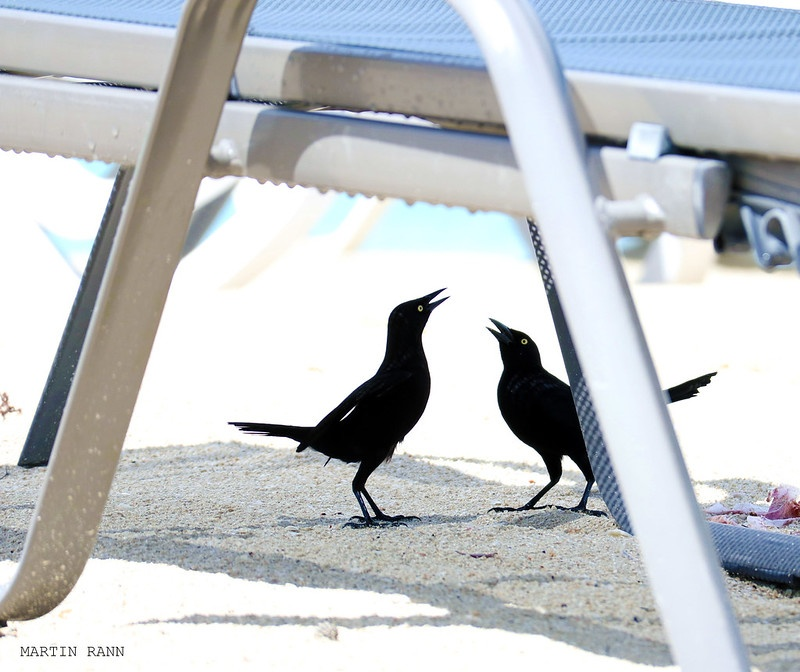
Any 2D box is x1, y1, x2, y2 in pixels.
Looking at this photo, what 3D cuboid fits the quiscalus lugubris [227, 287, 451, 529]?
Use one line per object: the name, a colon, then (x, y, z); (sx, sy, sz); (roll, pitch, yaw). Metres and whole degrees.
quiscalus lugubris: (-0.167, 0.200, 3.232); (0.674, 0.688, 0.325); (-1, -5, 7)
